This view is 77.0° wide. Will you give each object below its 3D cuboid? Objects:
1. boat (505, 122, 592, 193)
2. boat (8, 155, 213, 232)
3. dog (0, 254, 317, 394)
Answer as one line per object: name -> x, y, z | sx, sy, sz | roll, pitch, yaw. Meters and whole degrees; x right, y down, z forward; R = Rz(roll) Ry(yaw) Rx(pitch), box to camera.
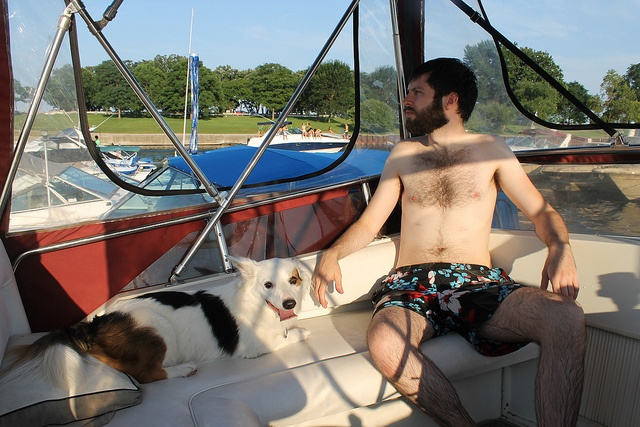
boat -> 1.681, -0.527, 3.274 | 0.878, 0.352, 0.290 | 13, 17, 17
boat -> -1.509, -0.187, 2.947 | 1.174, 0.453, 0.321 | -4, 28, -33
dog -> -0.803, 0.607, 2.111 | 1.125, 0.497, 0.631 | -4, 2, -28
